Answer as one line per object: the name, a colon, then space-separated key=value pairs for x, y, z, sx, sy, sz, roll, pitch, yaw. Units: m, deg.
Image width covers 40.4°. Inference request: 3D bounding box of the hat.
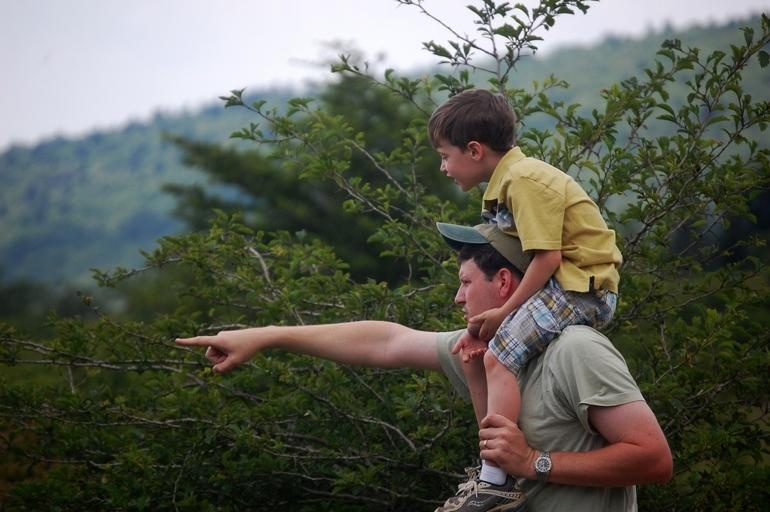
hat: x=0.709 y=-0.124 z=8.081 sx=0.589 sy=0.243 sz=0.374 roll=31 pitch=0 yaw=2
